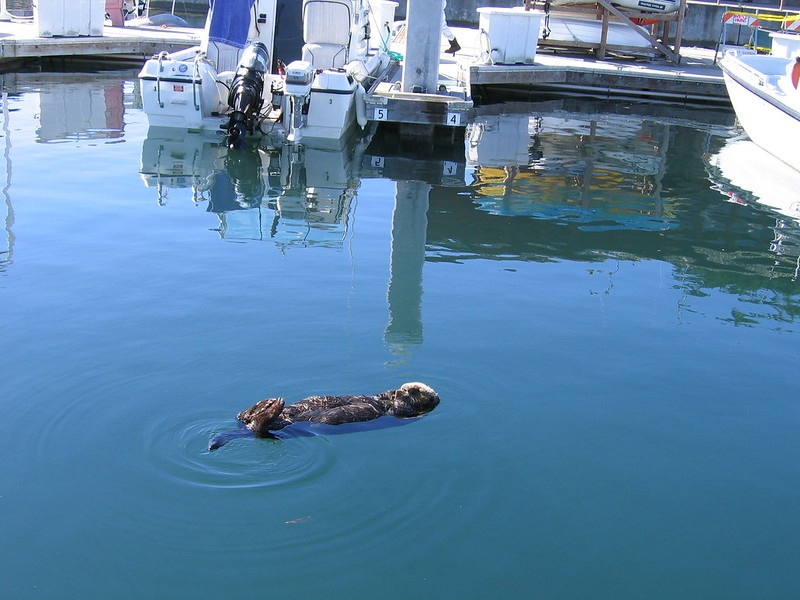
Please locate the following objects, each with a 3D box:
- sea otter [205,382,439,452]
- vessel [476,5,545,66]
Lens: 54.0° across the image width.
[{"bbox_3d":[-0.559,0.869,6.206,1.867,0.462,0.426,-5,17,-30],"label":"sea otter"},{"bbox_3d":[2.647,-6.395,19.044,1.451,1.392,0.769,4,16,2],"label":"vessel"}]
